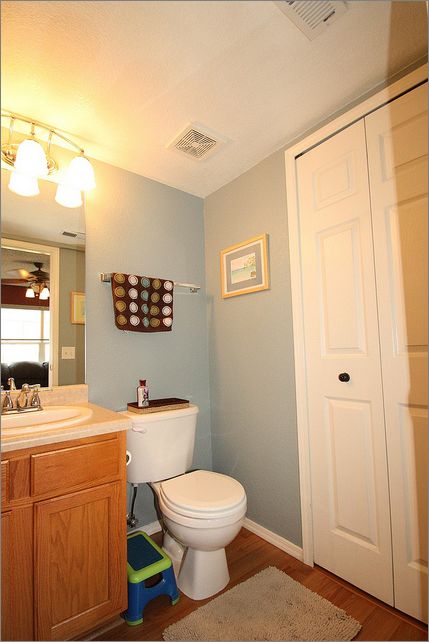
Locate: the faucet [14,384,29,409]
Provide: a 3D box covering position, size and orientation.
[{"bbox_3d":[-0.806,0.313,1.939,0.051,0.099,0.108,-3,3,-23],"label":"faucet"}]

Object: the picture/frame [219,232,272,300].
[{"bbox_3d":[0.178,-0.304,2.549,0.018,0.296,0.377,0,-2,-32],"label":"picture/frame"}]

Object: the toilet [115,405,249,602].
[{"bbox_3d":[-0.134,0.803,2.103,0.391,0.711,0.644,-4,4,-35],"label":"toilet"}]

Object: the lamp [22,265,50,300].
[{"bbox_3d":[-0.857,-0.188,2.240,0.137,0.113,0.140,-8,-2,45],"label":"lamp"}]

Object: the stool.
[{"bbox_3d":[-0.276,1.065,1.918,0.197,0.162,0.237,2,-4,-34],"label":"stool"}]

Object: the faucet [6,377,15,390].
[{"bbox_3d":[-0.894,0.276,2.021,0.033,0.058,0.124,-3,3,-24],"label":"faucet"}]

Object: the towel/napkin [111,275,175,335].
[{"bbox_3d":[-0.393,-0.085,2.437,0.032,0.246,0.315,-2,-1,38],"label":"towel/napkin"}]

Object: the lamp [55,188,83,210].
[{"bbox_3d":[-0.731,-0.599,2.296,0.097,0.095,0.098,2,7,-28],"label":"lamp"}]
